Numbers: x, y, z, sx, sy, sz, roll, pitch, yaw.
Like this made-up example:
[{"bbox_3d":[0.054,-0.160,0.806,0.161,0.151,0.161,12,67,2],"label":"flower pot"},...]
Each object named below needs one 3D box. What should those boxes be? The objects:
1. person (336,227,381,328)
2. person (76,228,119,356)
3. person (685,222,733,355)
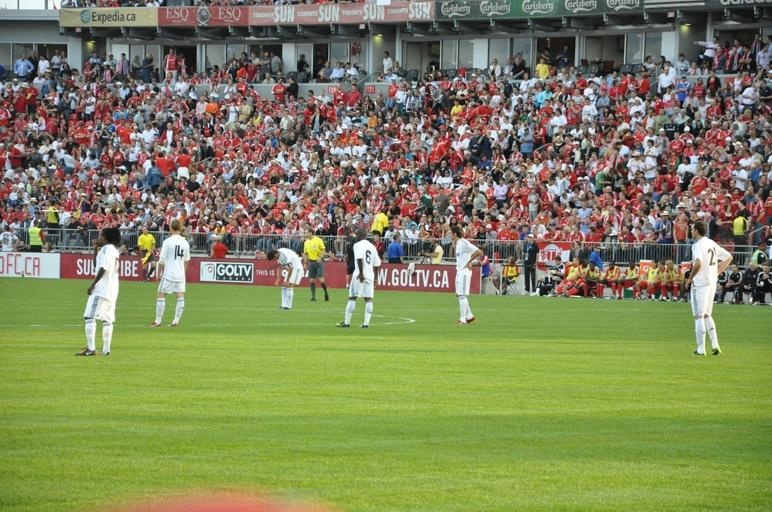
[{"bbox_3d":[-0.844,0.718,47.507,1.184,3.383,1.509,-1,-2,-15],"label":"person"},{"bbox_3d":[-7.956,1.066,40.895,0.708,3.485,1.124,8,11,32],"label":"person"},{"bbox_3d":[9.075,0.951,42.230,1.344,3.776,1.006,1,0,-33],"label":"person"}]
